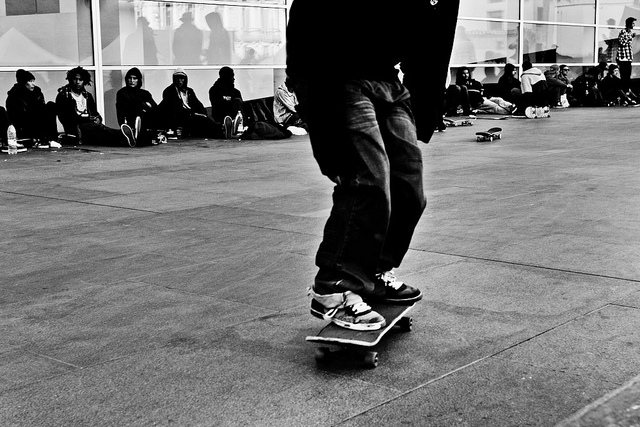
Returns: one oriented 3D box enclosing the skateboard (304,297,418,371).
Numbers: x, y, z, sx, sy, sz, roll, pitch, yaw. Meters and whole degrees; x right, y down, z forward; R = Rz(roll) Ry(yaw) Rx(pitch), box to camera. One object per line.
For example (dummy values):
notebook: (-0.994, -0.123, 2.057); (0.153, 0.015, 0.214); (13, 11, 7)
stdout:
skateboard: (0.187, 0.633, 2.836); (0.326, 0.171, 0.617); (2, 13, 25)

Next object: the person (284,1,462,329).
person: (0.329, -0.283, 2.912); (0.899, 1.682, 0.644); (-4, 15, -12)

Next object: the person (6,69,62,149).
person: (-6.892, -2.466, 12.718); (1.038, 1.808, 0.887); (-7, 16, -22)

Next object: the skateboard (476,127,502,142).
skateboard: (4.190, -1.940, 13.249); (0.284, 0.190, 1.172); (10, 18, 31)
